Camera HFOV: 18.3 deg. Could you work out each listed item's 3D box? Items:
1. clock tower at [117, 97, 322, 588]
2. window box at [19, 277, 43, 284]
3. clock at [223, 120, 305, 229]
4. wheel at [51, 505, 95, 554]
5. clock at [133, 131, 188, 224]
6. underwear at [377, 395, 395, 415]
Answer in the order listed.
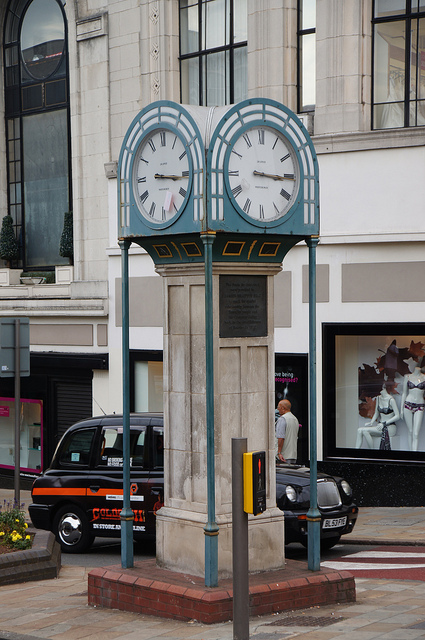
[{"bbox_3d":[0.357,-0.209,13.403,1.206,4.662,1.430,3,24,0],"label":"clock tower"},{"bbox_3d":[-3.691,-0.781,26.788,0.171,0.173,0.692,1,-4,-38],"label":"window box"},{"bbox_3d":[0.515,-1.400,12.660,1.027,1.024,0.081,1,-2,-41],"label":"clock"},{"bbox_3d":[-1.745,2.650,16.578,0.475,0.648,0.223,0,4,39],"label":"wheel"},{"bbox_3d":[-0.481,-1.385,12.839,0.702,1.095,0.105,-4,27,-9],"label":"clock"},{"bbox_3d":[2.632,1.290,19.759,0.084,0.273,0.211,-1,1,-34],"label":"underwear"}]
